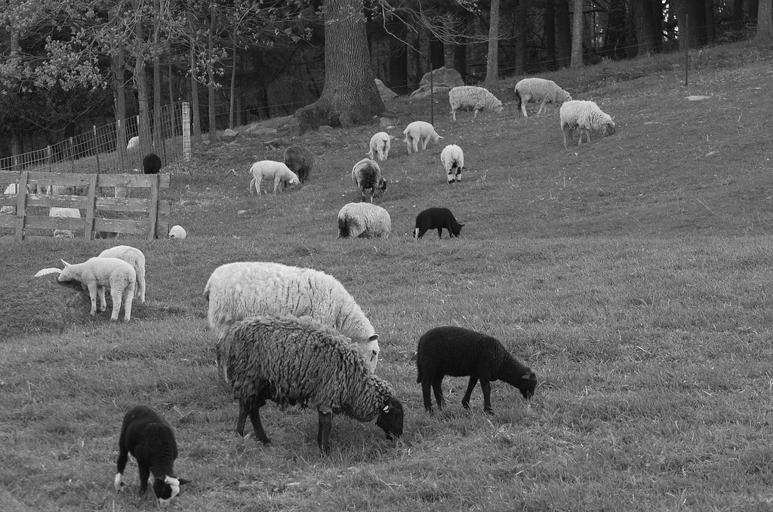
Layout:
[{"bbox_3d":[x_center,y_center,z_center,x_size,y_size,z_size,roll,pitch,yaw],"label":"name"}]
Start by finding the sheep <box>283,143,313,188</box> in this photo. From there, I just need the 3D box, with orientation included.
[{"bbox_3d":[-3.162,-3.455,42.878,0.809,1.518,2.014,7,3,30],"label":"sheep"}]

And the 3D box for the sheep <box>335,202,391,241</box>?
[{"bbox_3d":[-0.580,-0.888,34.162,1.934,1.514,0.904,1,0,-39],"label":"sheep"}]

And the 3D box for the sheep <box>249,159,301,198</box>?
[{"bbox_3d":[-4.121,-2.912,41.108,1.855,1.125,2.019,-8,17,-26],"label":"sheep"}]

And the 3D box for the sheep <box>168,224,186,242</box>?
[{"bbox_3d":[-6.227,-0.698,33.647,0.655,0.463,0.355,6,6,42],"label":"sheep"}]

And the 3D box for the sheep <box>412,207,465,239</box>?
[{"bbox_3d":[1.556,-0.979,33.763,1.542,0.977,0.918,-3,15,-8],"label":"sheep"}]

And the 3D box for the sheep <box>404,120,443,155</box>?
[{"bbox_3d":[1.403,-4.480,43.579,0.508,1.290,2.072,-3,-7,45],"label":"sheep"}]

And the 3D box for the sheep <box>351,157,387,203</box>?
[{"bbox_3d":[-0.724,-2.641,38.698,0.874,1.583,2.024,0,10,-9],"label":"sheep"}]

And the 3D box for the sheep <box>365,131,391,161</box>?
[{"bbox_3d":[-0.292,-4.139,42.654,0.763,0.993,1.279,-1,15,-2],"label":"sheep"}]
